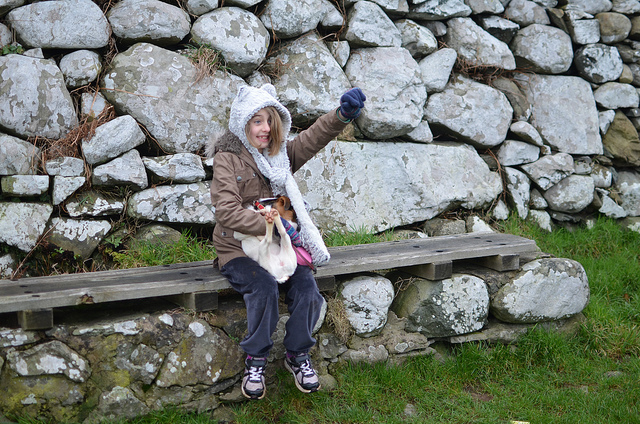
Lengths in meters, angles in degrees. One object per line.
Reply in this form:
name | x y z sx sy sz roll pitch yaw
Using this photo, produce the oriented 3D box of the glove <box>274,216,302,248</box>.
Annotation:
glove | -0.204 0.159 3.952 0.080 0.192 0.151 -39 36 5
